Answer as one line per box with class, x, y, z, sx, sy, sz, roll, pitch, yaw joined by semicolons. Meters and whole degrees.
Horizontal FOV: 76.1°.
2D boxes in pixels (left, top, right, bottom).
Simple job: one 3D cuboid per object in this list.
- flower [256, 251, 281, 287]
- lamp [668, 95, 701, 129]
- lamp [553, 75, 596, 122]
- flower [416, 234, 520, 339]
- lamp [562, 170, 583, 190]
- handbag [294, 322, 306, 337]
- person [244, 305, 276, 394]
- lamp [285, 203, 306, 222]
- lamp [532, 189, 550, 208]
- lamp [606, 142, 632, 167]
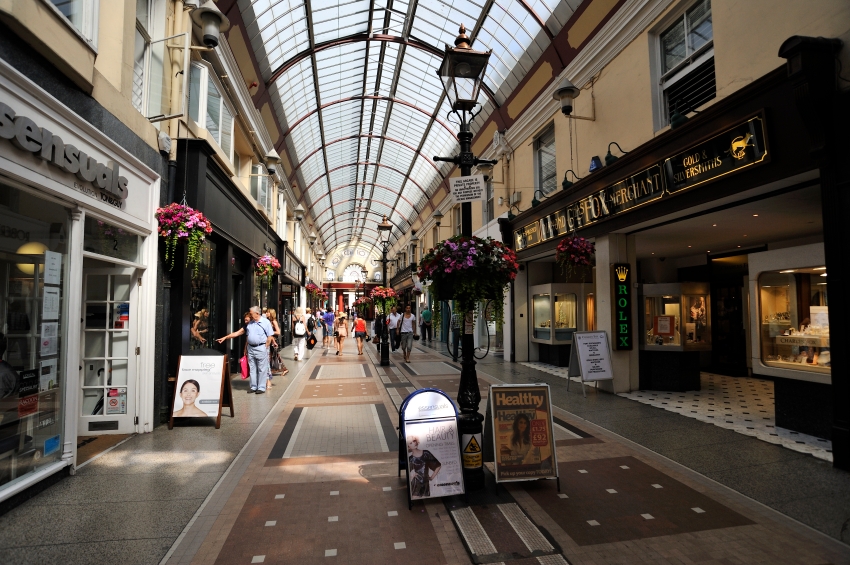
flower;-4.539;-0.440;15.737;0.878;1.020;0.915;1;-14;-4
lamp;4.657;-2.984;9.820;0.471;0.489;1.271;5;13;23
lamp;3.355;-3.968;11.998;0.855;0.891;1.625;3;12;17
flower;0.613;0.016;7.302;1.084;0.835;1.081;0;-6;-4
lamp;3.462;-2.387;12.791;0.369;0.446;1.058;3;12;14
handbag;-3.670;1.377;15.874;0.289;0.556;0.387;-3;12;-14
person;-3.538;1.435;11.621;0.540;1.876;0.815;-4;12;-18
lamp;-5.816;-3.008;24.444;0.852;0.928;0.884;1;-3;-21
lamp;3.092;-2.240;14.616;0.209;0.384;0.592;6;-11;-1
lamp;3.928;-2.615;11.138;0.393;0.491;0.990;4;12;18
